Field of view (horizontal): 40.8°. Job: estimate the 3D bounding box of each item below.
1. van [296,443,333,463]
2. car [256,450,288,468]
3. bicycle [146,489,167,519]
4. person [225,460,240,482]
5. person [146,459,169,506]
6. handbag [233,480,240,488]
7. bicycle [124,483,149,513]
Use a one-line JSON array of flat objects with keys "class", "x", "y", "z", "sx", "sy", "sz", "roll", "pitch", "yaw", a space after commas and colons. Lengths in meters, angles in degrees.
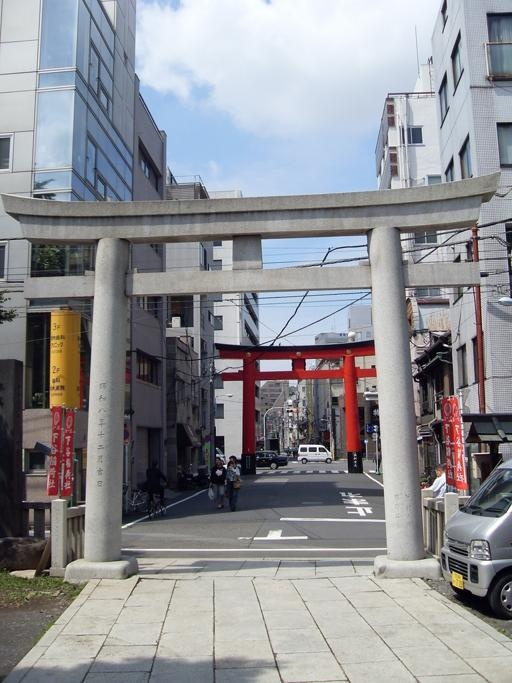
[{"class": "van", "x": 6.179, "y": 11.593, "z": 71.122, "sx": 2.662, "sy": 1.520, "sz": 1.774, "roll": -2, "pitch": -8, "yaw": 5}, {"class": "car", "x": 1.502, "y": 10.438, "z": 60.447, "sx": 2.870, "sy": 1.459, "sz": 1.982, "roll": 3, "pitch": -10, "yaw": -38}, {"class": "bicycle", "x": -3.222, "y": 5.074, "z": 21.309, "sx": 0.539, "sy": 0.749, "sz": 1.162, "roll": -4, "pitch": -17, "yaw": 5}, {"class": "person", "x": -0.729, "y": 4.130, "z": 21.909, "sx": 0.427, "sy": 0.814, "sz": 1.013, "roll": -3, "pitch": -8, "yaw": -3}, {"class": "person", "x": -3.127, "y": 4.448, "z": 21.469, "sx": 0.512, "sy": 1.406, "sz": 2.618, "roll": -2, "pitch": -8, "yaw": -10}, {"class": "handbag", "x": -0.615, "y": 4.573, "z": 21.950, "sx": 0.155, "sy": 0.279, "sz": 0.303, "roll": -4, "pitch": -8, "yaw": 7}, {"class": "bicycle", "x": -4.086, "y": 5.358, "z": 23.570, "sx": 0.681, "sy": 0.954, "sz": 1.447, "roll": 2, "pitch": -4, "yaw": -23}]
